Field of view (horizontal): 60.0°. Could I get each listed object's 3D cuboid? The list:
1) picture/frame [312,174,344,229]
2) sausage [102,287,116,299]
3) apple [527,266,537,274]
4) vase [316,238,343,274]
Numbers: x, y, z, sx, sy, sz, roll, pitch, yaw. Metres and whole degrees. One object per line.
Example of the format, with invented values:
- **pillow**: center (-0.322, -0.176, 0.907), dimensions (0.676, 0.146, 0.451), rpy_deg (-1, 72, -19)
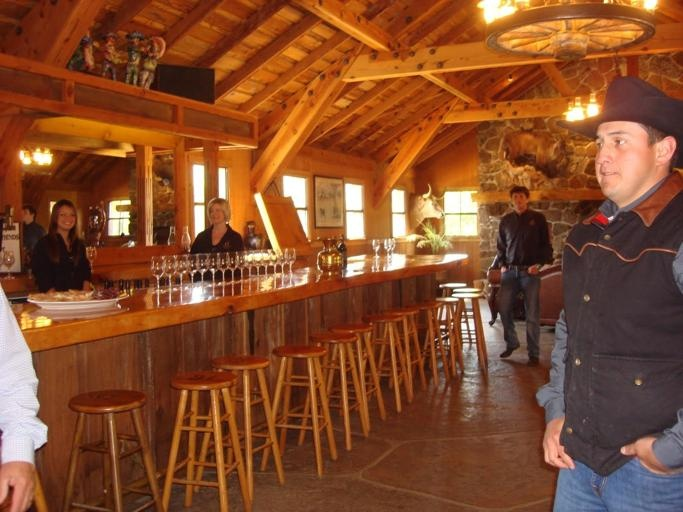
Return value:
- **picture/frame**: center (-0.258, -0.965, 10.436), dimensions (0.040, 0.730, 0.978), rpy_deg (2, 6, 26)
- **sausage**: center (-1.172, 0.186, 2.989), dimensions (0.059, 0.023, 0.059), rpy_deg (2, 8, -11)
- **apple**: center (1.966, 0.138, 6.110), dimensions (0.078, 0.076, 0.078), rpy_deg (-8, 13, -37)
- **vase**: center (-0.059, 0.021, 5.136), dimensions (0.292, 0.295, 0.217), rpy_deg (4, -7, -27)
